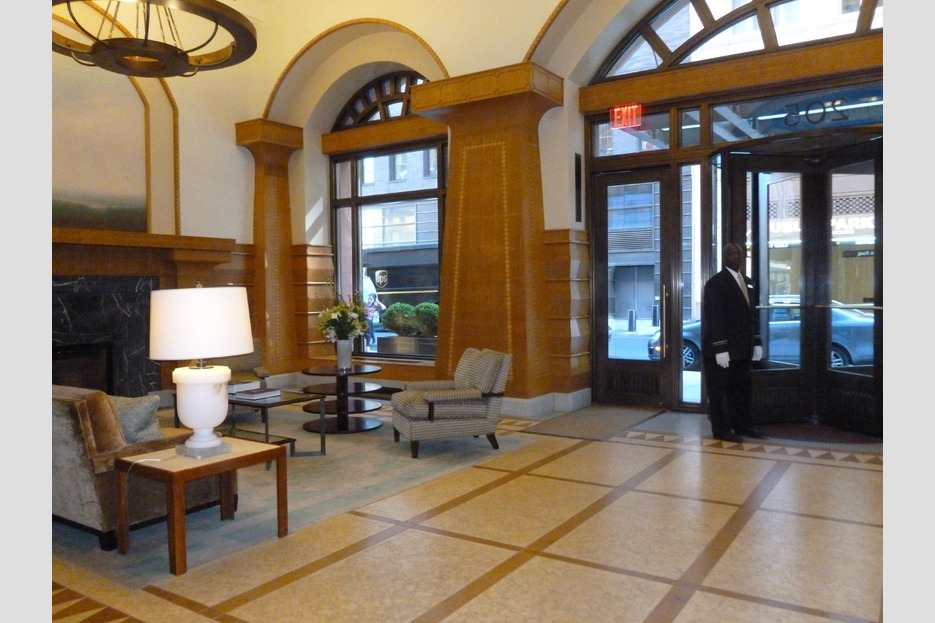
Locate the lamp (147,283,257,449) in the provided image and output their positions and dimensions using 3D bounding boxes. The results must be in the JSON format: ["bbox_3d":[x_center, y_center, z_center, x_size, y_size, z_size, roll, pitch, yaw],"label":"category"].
[{"bbox_3d":[-1.608,0.360,3.868,0.559,1.027,0.534,-3,5,-24],"label":"lamp"}]

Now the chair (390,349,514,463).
[{"bbox_3d":[-0.109,0.881,6.238,1.242,0.952,0.919,1,-3,-21],"label":"chair"}]

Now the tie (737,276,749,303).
[{"bbox_3d":[2.764,-0.226,6.385,0.077,0.242,0.193,0,4,23],"label":"tie"}]

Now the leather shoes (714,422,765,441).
[{"bbox_3d":[2.723,1.218,6.424,0.544,0.199,0.170,-4,5,-4],"label":"leather shoes"}]

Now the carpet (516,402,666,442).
[{"bbox_3d":[1.446,1.235,7.305,1.032,0.019,1.736,2,5,36],"label":"carpet"}]

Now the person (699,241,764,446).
[{"bbox_3d":[2.695,0.288,6.410,0.669,1.948,0.304,-2,4,-14],"label":"person"}]

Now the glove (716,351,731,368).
[{"bbox_3d":[2.515,0.458,6.260,0.169,0.137,0.134,6,-9,-30],"label":"glove"}]

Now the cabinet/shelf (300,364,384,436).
[{"bbox_3d":[-1.449,1.007,7.266,0.844,0.530,0.825,2,3,43],"label":"cabinet/shelf"}]
